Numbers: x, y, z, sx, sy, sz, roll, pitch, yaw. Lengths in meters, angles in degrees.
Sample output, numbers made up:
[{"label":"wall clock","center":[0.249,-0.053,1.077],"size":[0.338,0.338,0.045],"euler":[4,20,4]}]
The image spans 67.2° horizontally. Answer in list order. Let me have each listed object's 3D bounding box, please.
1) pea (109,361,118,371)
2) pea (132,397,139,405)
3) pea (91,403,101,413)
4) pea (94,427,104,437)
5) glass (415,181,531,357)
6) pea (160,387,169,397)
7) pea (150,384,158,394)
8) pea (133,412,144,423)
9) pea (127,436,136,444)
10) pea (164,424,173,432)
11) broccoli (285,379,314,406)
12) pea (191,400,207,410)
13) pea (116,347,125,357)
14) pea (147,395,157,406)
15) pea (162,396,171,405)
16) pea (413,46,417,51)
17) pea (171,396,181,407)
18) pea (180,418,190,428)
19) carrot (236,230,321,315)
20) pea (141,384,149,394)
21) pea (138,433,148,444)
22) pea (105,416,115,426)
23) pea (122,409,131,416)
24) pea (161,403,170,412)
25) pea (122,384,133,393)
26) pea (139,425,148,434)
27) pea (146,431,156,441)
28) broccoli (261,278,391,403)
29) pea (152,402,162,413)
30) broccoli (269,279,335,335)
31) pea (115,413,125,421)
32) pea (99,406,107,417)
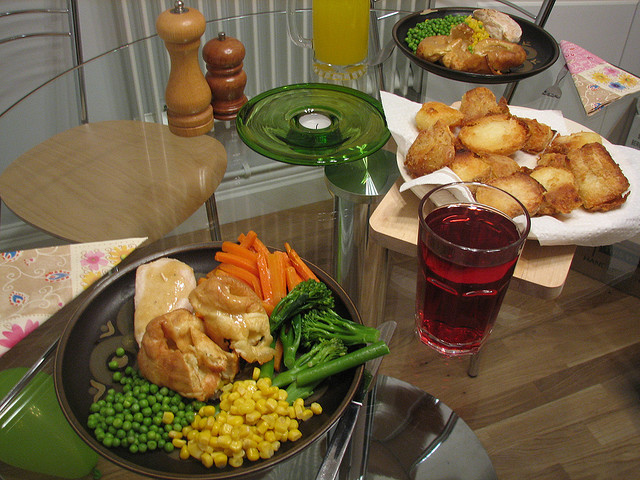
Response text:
[{"label":"pea","center":[-0.328,0.200,0.769],"size":[0.014,0.012,0.012],"euler":[-23,62,27]},{"label":"pea","center":[-0.283,0.247,0.742],"size":[0.008,0.004,0.008],"euler":[30,27,2]},{"label":"pea","center":[-0.333,0.250,0.720],"size":[0.011,0.011,0.007],"euler":[30,34,-6]},{"label":"pea","center":[-0.320,0.278,0.700],"size":[0.007,0.006,0.007],"euler":[30,32,13]},{"label":"glass","center":[0.220,0.087,0.822],"size":[0.135,0.322,0.154],"euler":[-14,38,-20]},{"label":"pea","center":[-0.244,0.238,0.759],"size":[0.011,0.007,0.011],"euler":[19,63,-7]},{"label":"pea","center":[-0.261,0.234,0.760],"size":[0.011,0.009,0.012],"euler":[-9,47,-6]},{"label":"pea","center":[-0.269,0.264,0.719],"size":[0.011,0.007,0.013],"euler":[-15,47,-39]},{"label":"pea","center":[-0.275,0.290,0.702],"size":[0.008,0.005,0.009],"euler":[33,38,31]},{"label":"pea","center":[-0.227,0.281,0.724],"size":[0.012,0.007,0.011],"euler":[-2,47,1]},{"label":"broccoli","center":[-0.034,0.237,0.754],"size":[0.025,0.014,0.042],"euler":[37,57,13]},{"label":"pea","center":[-0.191,0.258,0.755],"size":[0.014,0.008,0.012],"euler":[18,27,21]},{"label":"pea","center":[-0.323,0.180,0.781],"size":[0.011,0.012,0.011],"euler":[0,28,-23]},{"label":"pea","center":[-0.259,0.247,0.748],"size":[0.013,0.012,0.013],"euler":[32,13,38]},{"label":"pea","center":[-0.239,0.250,0.753],"size":[0.009,0.011,0.009],"euler":[-3,35,-3]},{"label":"pea","center":[0.225,-0.458,1.147],"size":[0.009,0.007,0.012],"euler":[1,28,1]},{"label":"pea","center":[-0.224,0.250,0.751],"size":[0.012,0.011,0.012],"euler":[2,8,4]},{"label":"pea","center":[-0.204,0.278,0.735],"size":[0.011,0.014,0.012],"euler":[-4,58,2]},{"label":"carrot","center":[-0.080,0.055,0.900],"size":[0.125,0.059,0.163],"euler":[-29,67,-6]},{"label":"pea","center":[-0.272,0.233,0.756],"size":[0.012,0.009,0.009],"euler":[37,66,9]},{"label":"pea","center":[-0.259,0.290,0.712],"size":[0.012,0.011,0.011],"euler":[-18,9,-5]},{"label":"pea","center":[-0.309,0.266,0.712],"size":[0.011,0.012,0.011],"euler":[-1,11,4]},{"label":"pea","center":[-0.289,0.258,0.723],"size":[0.006,0.003,0.006],"euler":[-6,32,-20]},{"label":"pea","center":[-0.239,0.259,0.747],"size":[0.008,0.008,0.010],"euler":[-15,15,-27]},{"label":"pea","center":[-0.298,0.230,0.751],"size":[0.009,0.007,0.011],"euler":[28,52,21]},{"label":"pea","center":[-0.259,0.278,0.711],"size":[0.011,0.007,0.011],"euler":[-17,74,-8]},{"label":"pea","center":[-0.247,0.287,0.708],"size":[0.015,0.006,0.012],"euler":[4,47,6]},{"label":"broccoli","center":[0.013,0.172,0.850],"size":[0.156,0.071,0.211],"euler":[48,43,15]},{"label":"pea","center":[-0.251,0.258,0.744],"size":[0.010,0.013,0.011],"euler":[8,40,-9]},{"label":"broccoli","center":[-0.027,0.115,0.820],"size":[0.080,0.046,0.034],"euler":[-30,42,5]},{"label":"pea","center":[-0.296,0.262,0.716],"size":[0.008,0.008,0.008],"euler":[-6,27,5]},{"label":"pea","center":[-0.321,0.257,0.720],"size":[0.010,0.012,0.011],"euler":[4,6,-4]}]
